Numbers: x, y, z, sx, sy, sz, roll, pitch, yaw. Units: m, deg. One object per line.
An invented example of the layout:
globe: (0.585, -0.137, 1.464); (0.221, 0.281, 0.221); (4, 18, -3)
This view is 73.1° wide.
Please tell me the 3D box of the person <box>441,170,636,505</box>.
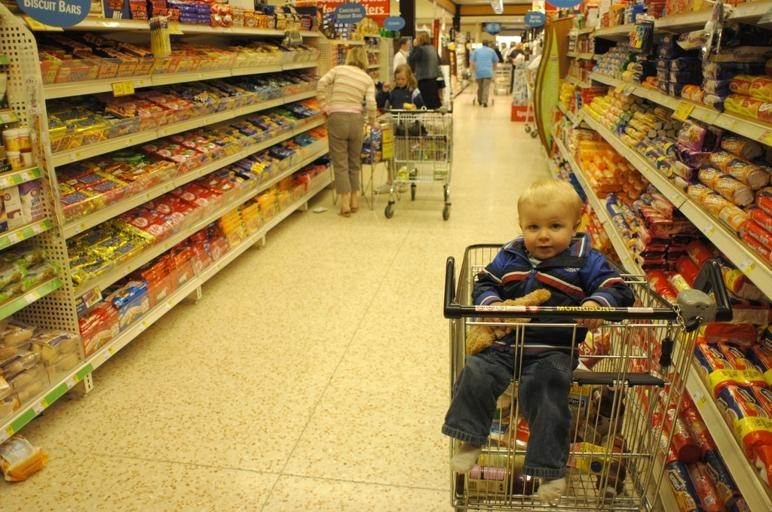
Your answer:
person: (0.634, 0.312, 2.142); (0.894, 1.148, 0.719); (-5, 6, 20)
